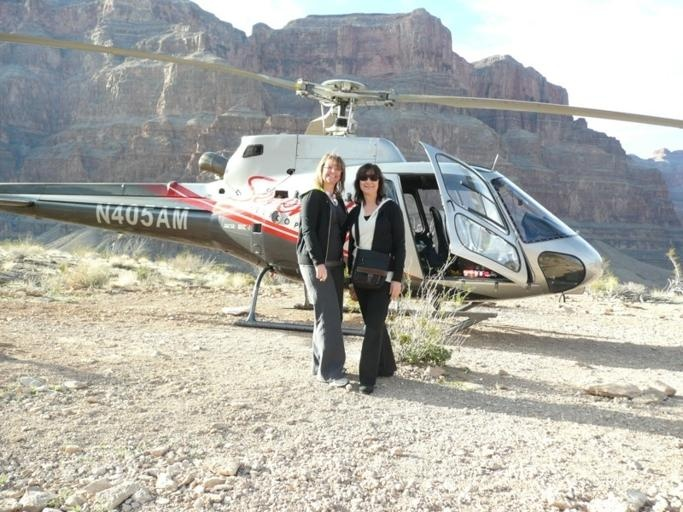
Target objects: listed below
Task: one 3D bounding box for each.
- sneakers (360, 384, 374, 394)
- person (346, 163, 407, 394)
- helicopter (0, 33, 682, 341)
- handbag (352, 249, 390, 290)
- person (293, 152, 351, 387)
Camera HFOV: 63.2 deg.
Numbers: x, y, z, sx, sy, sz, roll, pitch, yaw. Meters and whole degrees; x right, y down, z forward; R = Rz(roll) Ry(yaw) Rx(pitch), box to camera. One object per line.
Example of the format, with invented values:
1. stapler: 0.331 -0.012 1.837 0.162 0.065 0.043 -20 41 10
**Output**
1. sneakers: 0.225 1.172 4.948 0.128 0.052 0.050 0 28 16
2. person: 0.264 0.182 5.038 0.561 2.014 0.437 7 8 17
3. helicopter: -0.325 -0.762 8.165 6.521 2.141 5.533 1 3 14
4. handbag: 0.267 0.111 4.888 0.341 0.346 0.160 8 2 3
5. person: -0.139 0.115 5.041 0.506 2.051 0.433 3 7 -13
